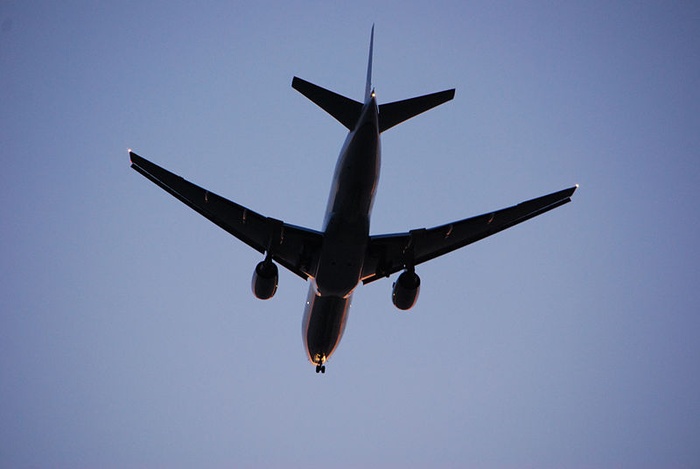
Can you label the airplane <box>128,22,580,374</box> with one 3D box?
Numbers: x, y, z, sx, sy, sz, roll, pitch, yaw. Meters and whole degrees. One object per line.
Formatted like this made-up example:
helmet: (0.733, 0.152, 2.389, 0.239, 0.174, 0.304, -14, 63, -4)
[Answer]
airplane: (-0.219, 0.683, 33.428, 12.447, 4.006, 10.491, 5, -59, -8)
